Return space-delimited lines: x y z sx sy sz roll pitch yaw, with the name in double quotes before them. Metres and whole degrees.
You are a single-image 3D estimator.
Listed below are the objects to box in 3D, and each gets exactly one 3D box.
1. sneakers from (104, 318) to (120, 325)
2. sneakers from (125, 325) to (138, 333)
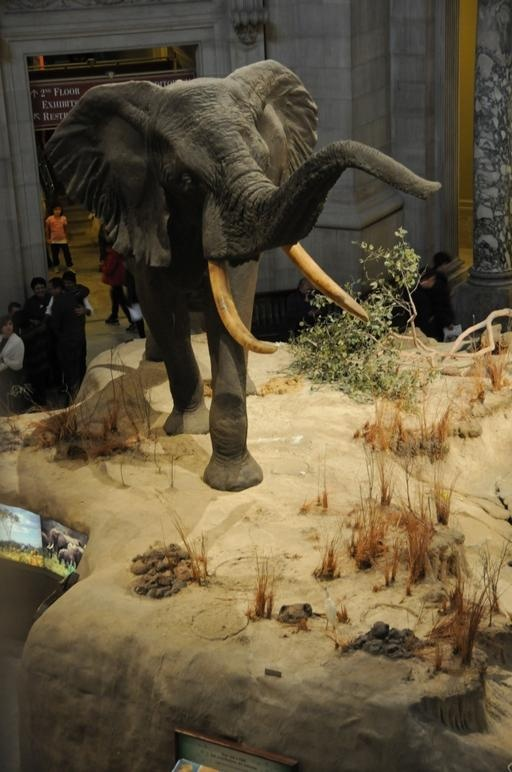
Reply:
"sneakers" -2.436 -1.101 10.802 0.194 0.139 0.094 7 7 7
"sneakers" -2.040 -0.947 10.475 0.193 0.118 0.098 8 9 35
